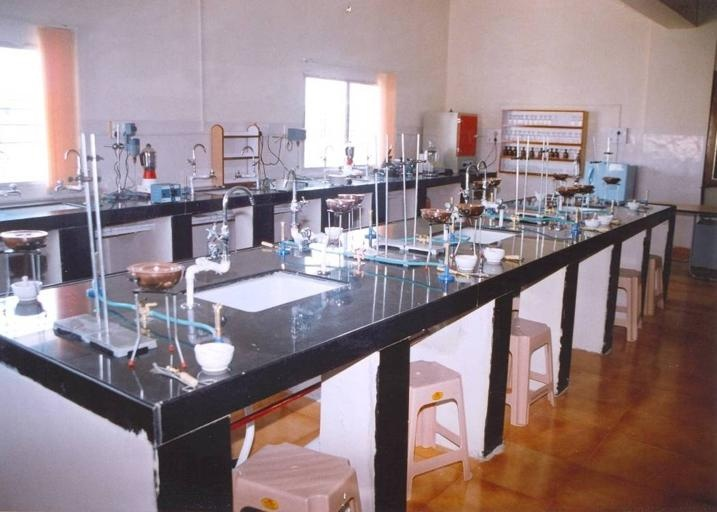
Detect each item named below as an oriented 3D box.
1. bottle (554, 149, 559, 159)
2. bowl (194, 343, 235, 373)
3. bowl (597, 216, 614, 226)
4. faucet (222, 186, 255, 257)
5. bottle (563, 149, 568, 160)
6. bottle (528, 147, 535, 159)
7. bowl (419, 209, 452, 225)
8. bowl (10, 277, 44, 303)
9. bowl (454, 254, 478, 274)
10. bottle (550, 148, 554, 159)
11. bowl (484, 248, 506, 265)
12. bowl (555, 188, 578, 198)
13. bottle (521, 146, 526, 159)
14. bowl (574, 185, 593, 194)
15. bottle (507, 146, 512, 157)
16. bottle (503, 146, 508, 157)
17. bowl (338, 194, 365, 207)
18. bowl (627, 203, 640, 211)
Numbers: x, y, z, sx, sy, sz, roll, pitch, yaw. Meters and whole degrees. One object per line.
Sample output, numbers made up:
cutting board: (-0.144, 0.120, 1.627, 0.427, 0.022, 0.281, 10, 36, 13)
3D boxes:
bottle: (3.001, -1.549, 8.351, 0.060, 0.142, 0.091, 2, 14, 14)
bowl: (-0.462, 0.322, 1.769, 0.100, 0.064, 0.101, 0, 6, 0)
bowl: (1.937, -0.264, 4.337, 0.116, 0.077, 0.121, 0, 3, 0)
faucet: (-0.584, -0.162, 2.702, 0.160, 0.386, 0.060, -2, 28, -17)
bottle: (3.106, -1.531, 8.280, 0.091, 0.153, 0.066, 4, 15, 22)
bottle: (2.704, -1.610, 8.594, 0.042, 0.182, 0.115, -12, 17, -37)
bowl: (0.501, -0.242, 3.325, 0.150, 0.063, 0.152, 2, 8, 0)
bowl: (-1.392, 0.136, 2.337, 0.118, 0.092, 0.117, 3, 8, 0)
bowl: (0.557, 0.038, 2.868, 0.102, 0.065, 0.102, 0, 6, 0)
bottle: (2.946, -1.557, 8.393, 0.070, 0.143, 0.072, -2, 14, 0)
bowl: (0.752, -0.003, 3.050, 0.100, 0.067, 0.100, -1, 0, 0)
bowl: (1.810, -0.526, 4.765, 0.110, 0.054, 0.108, -2, 13, 1)
bottle: (2.564, -1.609, 8.621, 0.071, 0.198, 0.112, 1, 14, 11)
bowl: (2.005, -0.605, 4.943, 0.163, 0.047, 0.120, -13, 19, -43)
bottle: (2.430, -1.674, 8.811, 0.110, 0.163, 0.057, 6, 15, 29)
bottle: (2.357, -1.697, 8.873, 0.117, 0.143, 0.039, 11, 19, 43)
bowl: (-0.047, -0.328, 3.226, 0.120, 0.047, 0.103, -6, 10, -42)
bowl: (2.605, -0.467, 5.247, 0.095, 0.061, 0.096, 1, 5, 0)
